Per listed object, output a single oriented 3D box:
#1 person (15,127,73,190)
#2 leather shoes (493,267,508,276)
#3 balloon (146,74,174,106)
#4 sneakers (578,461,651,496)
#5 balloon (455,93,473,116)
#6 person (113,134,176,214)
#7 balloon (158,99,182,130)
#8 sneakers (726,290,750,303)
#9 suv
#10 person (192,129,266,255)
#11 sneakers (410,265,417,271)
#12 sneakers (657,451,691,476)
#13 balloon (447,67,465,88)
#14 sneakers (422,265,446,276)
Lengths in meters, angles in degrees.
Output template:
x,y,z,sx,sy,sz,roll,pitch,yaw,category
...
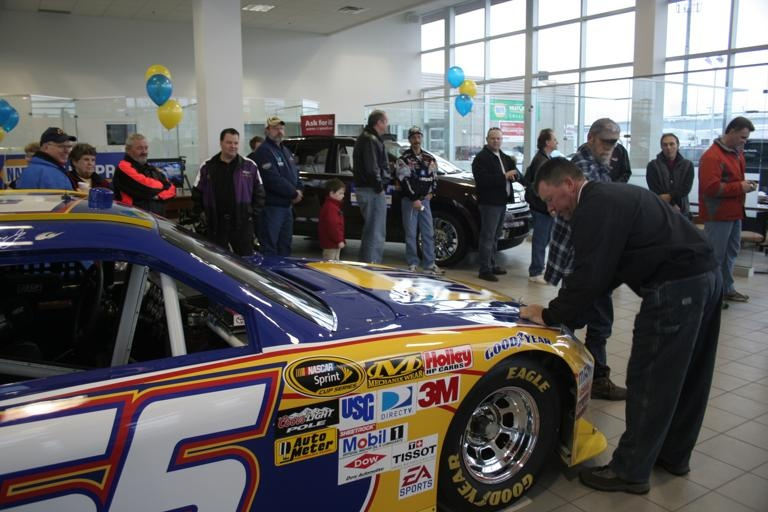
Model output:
x,y,z,sx,sy,sz,roll,pitch,yaw,category
-3.376,-0.941,5.293,0.489,0.722,0.750,-7,12,-43,person
1.697,0.239,7.789,0.293,0.119,0.094,0,8,39,leather shoes
-4.539,-3.390,10.735,0.623,0.625,0.372,10,17,34,balloon
1.458,1.422,3.375,0.418,0.194,0.174,12,8,10,sneakers
1.712,-3.382,11.710,0.430,0.526,0.435,-3,14,4,balloon
-2.774,-0.790,6.031,0.649,1.113,0.625,5,12,1,person
-4.282,-2.865,10.691,0.566,0.714,0.587,0,12,-10,balloon
4.403,0.510,6.541,0.326,0.130,0.137,0,12,-1,sneakers
0.416,-1.089,8.903,4.024,1.737,1.872,1,12,16,suv
-1.770,-0.457,5.948,0.803,1.876,0.519,-2,20,-18,person
0.417,0.182,7.328,0.079,0.097,0.217,-2,-3,5,sneakers
1.933,1.387,3.545,0.093,0.104,0.239,-4,3,-27,sneakers
1.861,-4.610,13.455,0.324,0.524,0.796,3,14,12,balloon
0.734,0.212,7.557,0.369,0.159,0.146,0,16,-6,sneakers
